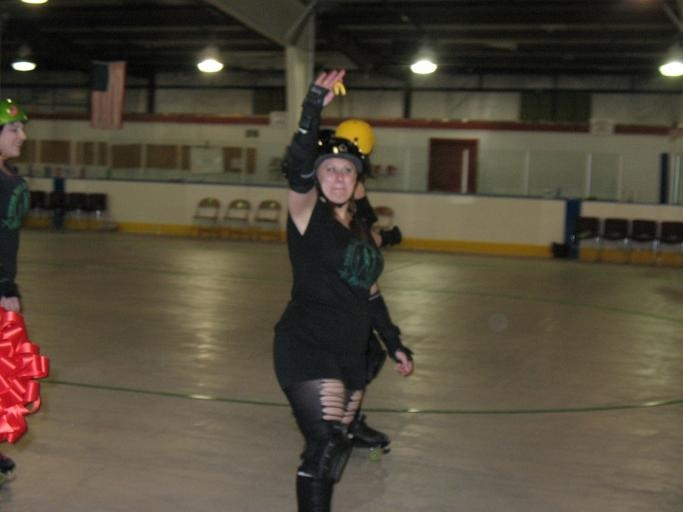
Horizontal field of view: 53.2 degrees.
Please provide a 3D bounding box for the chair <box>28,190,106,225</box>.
[{"bbox_3d":[-6.831,-1.161,16.995,1.955,0.854,0.383,3,7,7],"label":"chair"}]

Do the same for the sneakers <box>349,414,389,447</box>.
[{"bbox_3d":[0.175,0.984,3.826,0.280,0.202,0.094,-15,-7,42],"label":"sneakers"}]

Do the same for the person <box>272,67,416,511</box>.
[{"bbox_3d":[-0.040,0.199,2.974,0.415,1.974,0.658,5,7,21],"label":"person"}]
